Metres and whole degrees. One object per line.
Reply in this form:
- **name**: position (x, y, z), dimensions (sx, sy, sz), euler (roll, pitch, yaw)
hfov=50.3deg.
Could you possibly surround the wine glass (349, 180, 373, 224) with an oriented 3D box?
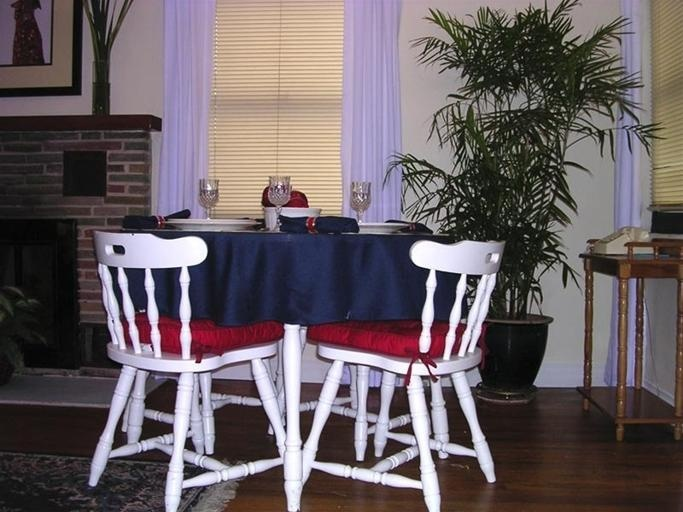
- **wine glass**: position (0.088, -0.275, 3.643), dimensions (0.095, 0.196, 0.194), euler (0, 8, 0)

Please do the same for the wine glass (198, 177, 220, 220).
- **wine glass**: position (-0.676, -0.293, 3.710), dimensions (0.096, 0.212, 0.350), euler (-1, 8, -11)

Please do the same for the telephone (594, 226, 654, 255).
- **telephone**: position (1.507, -0.071, 3.942), dimensions (0.208, 0.145, 0.159), euler (1, -2, -4)

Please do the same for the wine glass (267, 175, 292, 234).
- **wine glass**: position (-0.286, -0.245, 3.366), dimensions (0.114, 0.253, 0.421), euler (0, 8, -6)

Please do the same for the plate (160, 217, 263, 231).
- **plate**: position (-0.578, -0.140, 3.346), dimensions (0.457, 0.064, 0.445), euler (-1, 7, -13)
